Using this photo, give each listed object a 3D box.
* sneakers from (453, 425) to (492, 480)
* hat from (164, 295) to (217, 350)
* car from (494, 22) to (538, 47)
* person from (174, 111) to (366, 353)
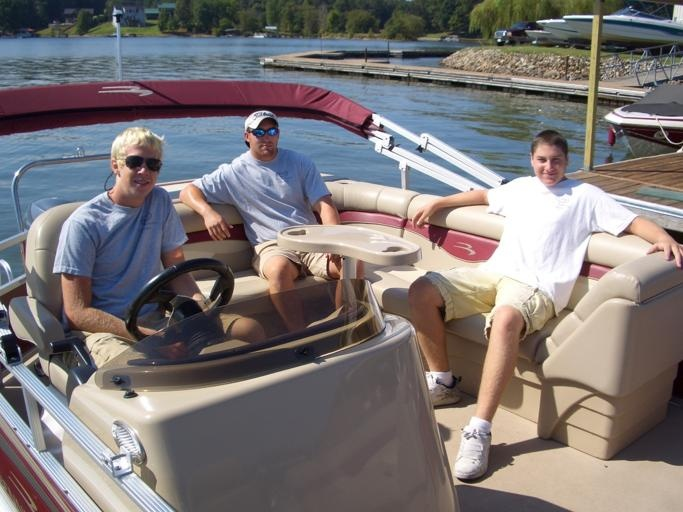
[{"bbox_3d":[0.588,0.889,2.513,0.097,0.130,0.299,0,-2,20],"label":"sneakers"},{"bbox_3d":[-0.458,0.198,1.684,0.076,0.093,0.093,-25,0,-43],"label":"hat"},{"bbox_3d":[11.525,-14.738,37.243,2.471,1.073,1.404,-11,24,-31],"label":"car"},{"bbox_3d":[-0.525,-0.320,3.850,1.100,1.763,1.284,-18,13,-26],"label":"person"}]
